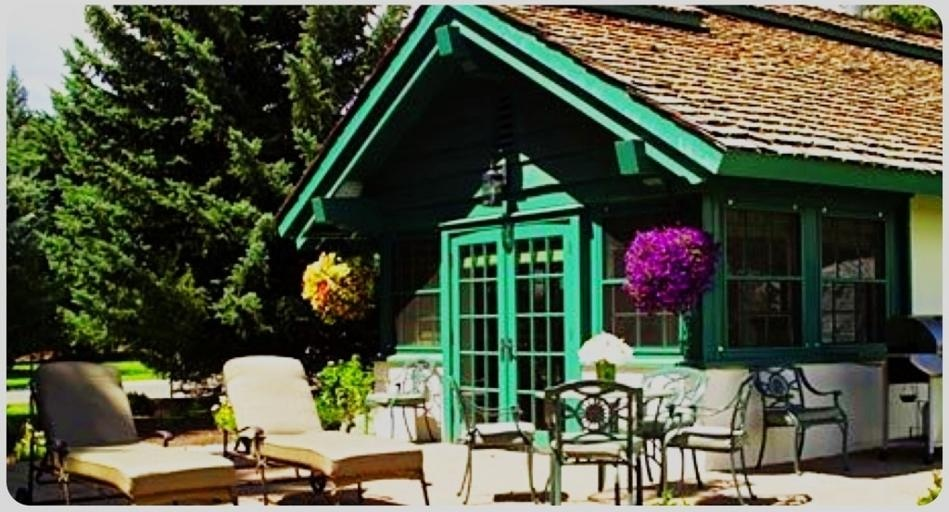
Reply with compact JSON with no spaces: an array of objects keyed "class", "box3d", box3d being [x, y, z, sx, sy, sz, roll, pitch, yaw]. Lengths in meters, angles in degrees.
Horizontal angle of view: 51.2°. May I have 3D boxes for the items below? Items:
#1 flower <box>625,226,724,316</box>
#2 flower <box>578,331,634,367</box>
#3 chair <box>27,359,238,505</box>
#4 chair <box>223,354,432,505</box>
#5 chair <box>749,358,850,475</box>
[{"class":"flower","box3d":[2.890,0.305,14.585,1.179,1.307,1.493,5,-12,43]},{"class":"flower","box3d":[1.889,1.282,14.019,0.564,0.227,0.568,0,27,17]},{"class":"chair","box3d":[-4.683,2.373,13.490,2.858,1.650,1.825,-8,-10,43]},{"class":"chair","box3d":[-2.031,2.328,13.829,2.575,1.731,1.942,-11,-14,44]},{"class":"chair","box3d":[4.701,2.317,14.407,1.075,1.437,1.084,0,-5,-27]}]
